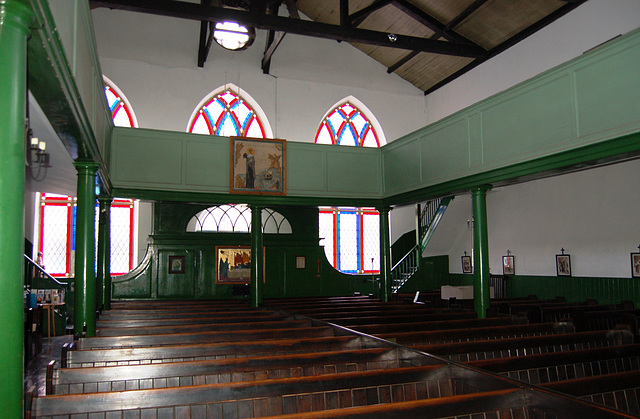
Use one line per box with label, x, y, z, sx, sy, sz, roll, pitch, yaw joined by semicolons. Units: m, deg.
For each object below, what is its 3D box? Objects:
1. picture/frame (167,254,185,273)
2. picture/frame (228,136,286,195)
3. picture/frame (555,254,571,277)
picture/frame;-4.638;1.743;14.743;0.570;0.709;0.053;2;-7;-18
picture/frame;-1.807;-1.176;12.872;1.541;1.569;0.165;1;-3;-13
picture/frame;7.402;1.692;13.928;0.081;0.816;0.578;14;-16;-23
